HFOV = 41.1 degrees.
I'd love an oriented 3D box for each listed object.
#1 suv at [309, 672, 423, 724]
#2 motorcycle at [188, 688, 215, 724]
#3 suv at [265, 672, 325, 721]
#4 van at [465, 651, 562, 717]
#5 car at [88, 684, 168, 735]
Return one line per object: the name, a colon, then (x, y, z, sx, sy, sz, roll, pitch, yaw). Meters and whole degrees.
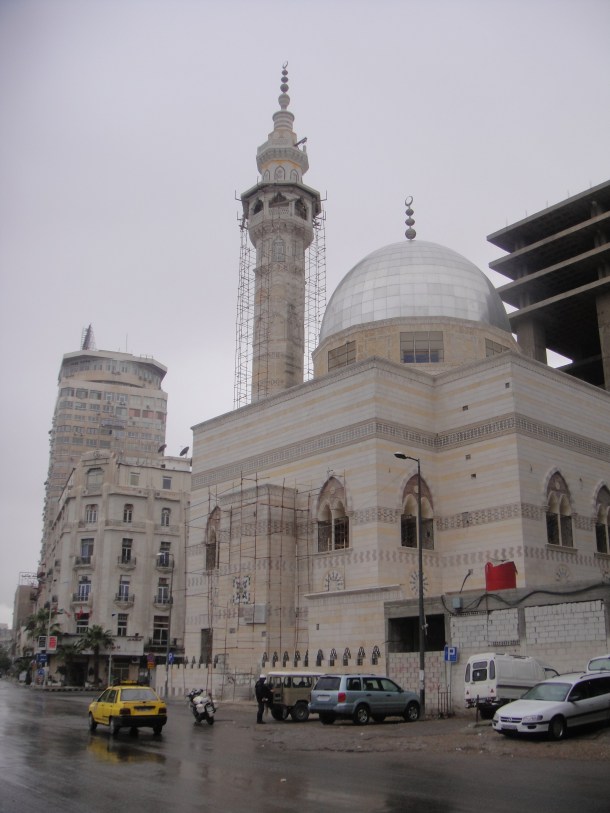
suv: (1.867, 8.482, 23.672, 3.674, 1.324, 1.674, 15, -24, -39)
motorcycle: (-3.066, 8.986, 24.317, 0.652, 0.904, 1.463, 3, -19, -11)
suv: (-0.550, 9.096, 25.683, 2.284, 1.284, 1.362, 7, -16, -31)
van: (5.694, 7.533, 22.441, 2.685, 1.445, 1.500, 5, -15, -30)
car: (-4.519, 7.570, 20.489, 1.257, 0.949, 2.011, 13, -24, -28)
